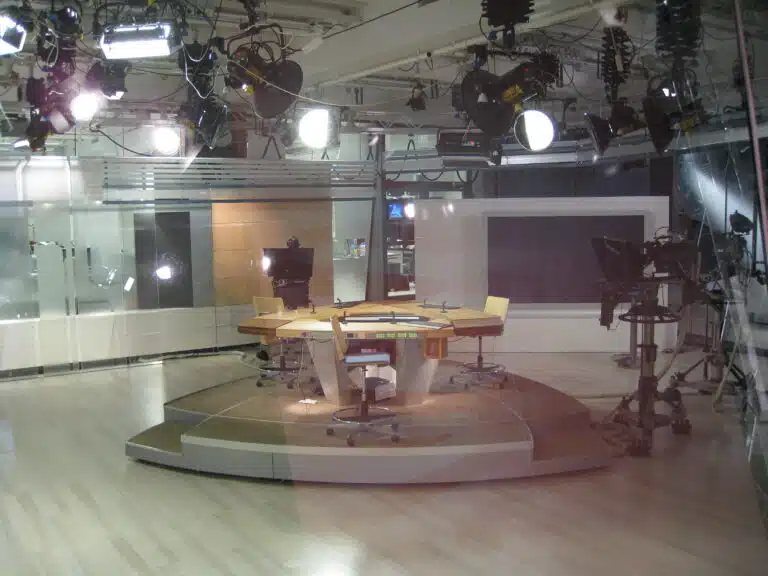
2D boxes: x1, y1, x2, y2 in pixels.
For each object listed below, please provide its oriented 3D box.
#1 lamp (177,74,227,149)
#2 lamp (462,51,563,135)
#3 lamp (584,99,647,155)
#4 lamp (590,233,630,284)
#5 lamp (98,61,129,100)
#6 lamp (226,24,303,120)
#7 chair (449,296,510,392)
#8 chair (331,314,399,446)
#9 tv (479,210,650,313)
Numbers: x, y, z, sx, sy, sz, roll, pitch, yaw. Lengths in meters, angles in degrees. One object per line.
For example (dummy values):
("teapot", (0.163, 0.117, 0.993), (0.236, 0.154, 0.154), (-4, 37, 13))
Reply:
("lamp", (-2.110, -1.992, 6.986), (0.514, 0.758, 1.781), (-4, 4, -18))
("lamp", (0.795, -1.204, 3.716), (0.309, 0.391, 0.677), (-6, 5, -36))
("lamp", (1.259, -0.868, 3.254), (0.291, 0.274, 0.129), (-1, 4, 20))
("lamp", (1.271, -0.160, 3.403), (0.233, 0.261, 0.121), (0, 5, 35))
("lamp", (-2.745, -2.081, 5.949), (0.217, 0.309, 0.233), (12, 19, 21))
("lamp", (-1.015, -1.872, 5.024), (0.556, 0.533, 0.503), (-5, 8, -1))
("chair", (0.655, 0.372, 3.946), (0.364, 0.699, 0.826), (-3, 4, -2))
("chair", (-0.142, 0.673, 4.586), (0.650, 0.877, 0.613), (1, -1, 13))
("tv", (1.068, -0.177, 3.557), (0.894, 0.536, 0.165), (-2, 4, 3))
